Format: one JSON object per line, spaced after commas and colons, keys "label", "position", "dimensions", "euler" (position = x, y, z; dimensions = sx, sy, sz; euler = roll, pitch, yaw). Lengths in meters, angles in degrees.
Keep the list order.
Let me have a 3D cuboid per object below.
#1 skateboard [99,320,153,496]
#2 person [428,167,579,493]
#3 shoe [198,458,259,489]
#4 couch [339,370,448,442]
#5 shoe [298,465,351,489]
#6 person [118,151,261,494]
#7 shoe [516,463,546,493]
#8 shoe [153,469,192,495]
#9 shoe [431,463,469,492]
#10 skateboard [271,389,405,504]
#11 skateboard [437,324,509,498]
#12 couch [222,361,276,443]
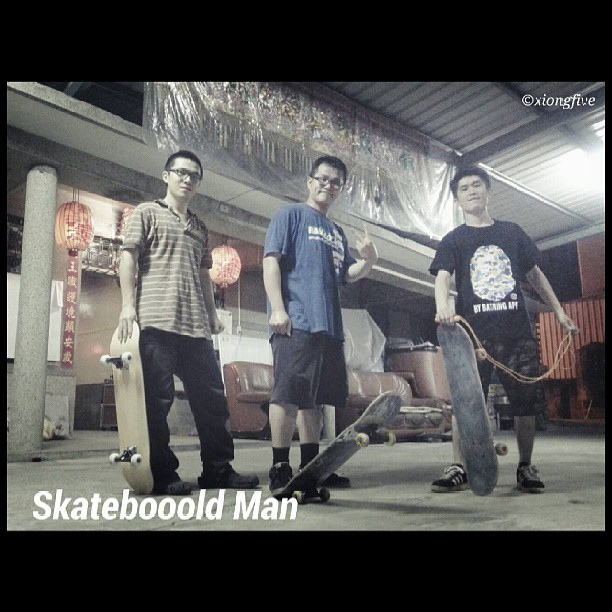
{"label": "skateboard", "position": [-0.744, 0.465, 2.662], "dimensions": [0.160, 0.926, 0.118], "euler": [-3, 1, 30]}
{"label": "person", "position": [0.913, 0.095, 2.983], "dimensions": [0.489, 1.668, 0.424], "euler": [-5, -10, 20]}
{"label": "shoe", "position": [-0.361, 0.769, 2.872], "dimensions": [0.280, 0.182, 0.122], "euler": [-1, -10, 6]}
{"label": "couch", "position": [1.036, 1.053, 6.215], "dimensions": [0.702, 0.689, 0.607], "euler": [-1, -19, 2]}
{"label": "shoe", "position": [0.095, 0.797, 2.929], "dimensions": [0.278, 0.157, 0.111], "euler": [-3, -10, 6]}
{"label": "person", "position": [-0.553, 0.068, 2.811], "dimensions": [0.537, 1.490, 0.533], "euler": [-3, 9, -21]}
{"label": "shoe", "position": [1.020, 0.789, 2.830], "dimensions": [0.129, 0.117, 0.131], "euler": [2, 10, 9]}
{"label": "shoe", "position": [-0.532, 0.747, 2.674], "dimensions": [0.217, 0.136, 0.075], "euler": [-9, -14, 29]}
{"label": "shoe", "position": [0.657, 0.794, 2.885], "dimensions": [0.077, 0.126, 0.231], "euler": [-14, -26, 43]}
{"label": "skateboard", "position": [0.167, 0.704, 3.072], "dimensions": [0.155, 0.918, 0.250], "euler": [26, -19, 51]}
{"label": "skateboard", "position": [0.726, 0.459, 2.785], "dimensions": [0.196, 0.921, 0.125], "euler": [-3, 27, 31]}
{"label": "couch", "position": [-0.362, 0.798, 5.265], "dimensions": [0.465, 0.697, 0.489], "euler": [5, -9, -35]}
